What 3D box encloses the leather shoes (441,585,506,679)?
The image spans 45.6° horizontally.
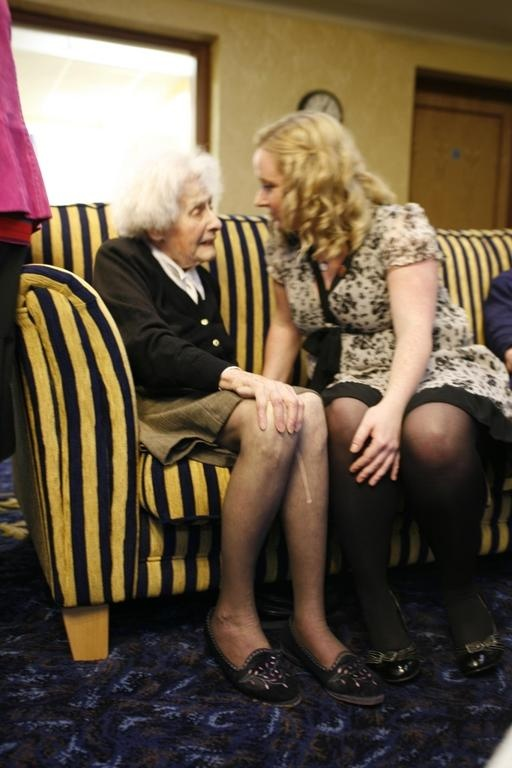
[{"bbox_3d":[0.387,0.436,1.084,0.081,0.128,0.087,0,4,-3],"label":"leather shoes"}]

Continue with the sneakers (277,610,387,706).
[{"bbox_3d":[0.139,0.456,1.026,0.057,0.051,0.162,-2,13,-35],"label":"sneakers"}]

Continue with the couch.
[{"bbox_3d":[-0.005,0.000,1.520,1.105,0.979,0.751,-1,4,-21],"label":"couch"}]

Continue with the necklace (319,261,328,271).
[{"bbox_3d":[0.151,-0.256,1.344,0.017,0.017,0.004,0,17,26],"label":"necklace"}]
